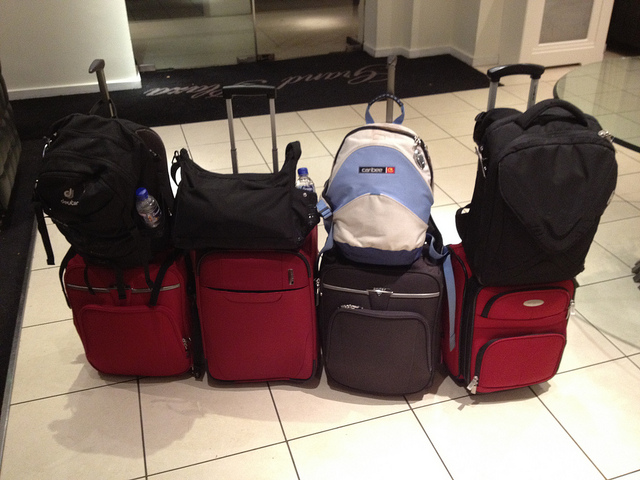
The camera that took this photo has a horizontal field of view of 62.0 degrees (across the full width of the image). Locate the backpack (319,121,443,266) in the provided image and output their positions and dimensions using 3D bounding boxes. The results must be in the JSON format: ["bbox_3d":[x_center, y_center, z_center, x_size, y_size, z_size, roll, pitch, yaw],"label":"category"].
[{"bbox_3d":[0.251,-0.194,2.343,0.494,0.459,0.522,1,34,8],"label":"backpack"}]

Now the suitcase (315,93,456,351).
[{"bbox_3d":[0.304,-0.006,2.446,0.611,0.891,0.523,-1,33,4],"label":"suitcase"}]

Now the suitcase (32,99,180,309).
[{"bbox_3d":[-0.929,-0.141,2.365,0.510,0.789,0.591,-4,51,0],"label":"suitcase"}]

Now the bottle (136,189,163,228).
[{"bbox_3d":[-0.727,-0.119,2.233,0.093,0.188,0.099,-10,17,3],"label":"bottle"}]

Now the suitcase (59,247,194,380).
[{"bbox_3d":[-0.940,0.485,2.521,0.516,0.422,0.765,4,47,-31],"label":"suitcase"}]

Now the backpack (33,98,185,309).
[{"bbox_3d":[-1.033,-0.203,2.205,0.393,0.622,0.387,24,44,37],"label":"backpack"}]

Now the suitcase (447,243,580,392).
[{"bbox_3d":[0.787,0.277,2.590,0.464,0.680,0.668,1,33,-8],"label":"suitcase"}]

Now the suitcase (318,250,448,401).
[{"bbox_3d":[0.271,0.338,2.496,0.598,0.749,0.421,1,35,4],"label":"suitcase"}]

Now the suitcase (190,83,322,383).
[{"bbox_3d":[-0.289,-0.026,2.439,0.549,1.325,0.521,-6,27,-10],"label":"suitcase"}]

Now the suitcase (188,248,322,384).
[{"bbox_3d":[-0.297,0.248,2.535,0.525,0.790,0.421,0,32,-4],"label":"suitcase"}]

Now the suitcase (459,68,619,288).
[{"bbox_3d":[0.927,-0.320,2.373,0.541,0.869,0.869,3,31,13],"label":"suitcase"}]
